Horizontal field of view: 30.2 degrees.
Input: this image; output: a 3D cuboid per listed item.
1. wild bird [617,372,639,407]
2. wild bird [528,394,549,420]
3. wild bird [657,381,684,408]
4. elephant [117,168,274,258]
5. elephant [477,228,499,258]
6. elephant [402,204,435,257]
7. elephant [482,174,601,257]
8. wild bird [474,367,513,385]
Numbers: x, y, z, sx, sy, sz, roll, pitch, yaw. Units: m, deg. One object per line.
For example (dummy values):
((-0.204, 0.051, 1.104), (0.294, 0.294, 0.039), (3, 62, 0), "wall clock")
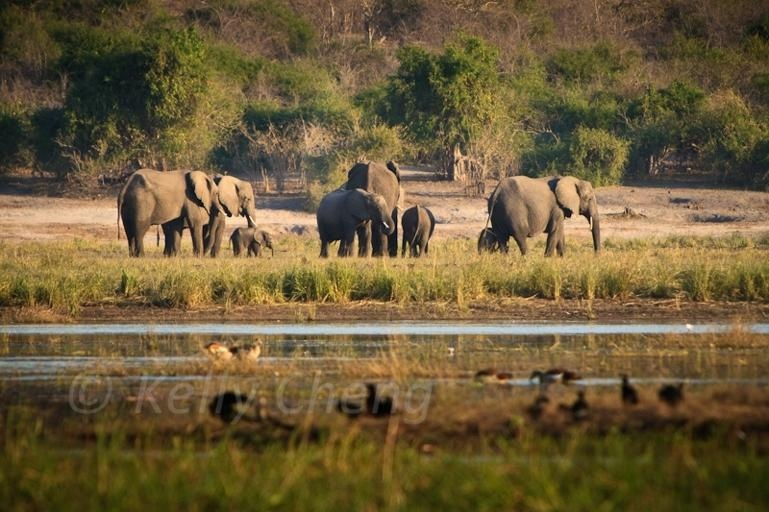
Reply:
((8.262, 4.637, 48.544), (0.598, 0.685, 1.686), (-5, 39, 6), "wild bird")
((5.192, 5.141, 48.112), (0.749, 0.726, 0.448), (-2, 5, -44), "wild bird")
((9.724, 4.725, 48.342), (0.603, 0.751, 0.169), (-5, -19, 3), "wild bird")
((-8.004, -1.830, 61.064), (6.364, 4.497, 2.970), (-4, 8, -30), "elephant")
((4.278, -0.562, 59.498), (0.775, 1.669, 1.187), (0, -1, -21), "elephant")
((1.297, -1.044, 60.083), (1.121, 2.120, 0.847), (2, 3, 11), "elephant")
((6.403, -1.921, 60.519), (5.000, 4.217, 2.607), (-4, 8, -16), "elephant")
((3.734, 4.161, 49.043), (1.311, 0.398, 0.595), (2, 4, 4), "wild bird")
